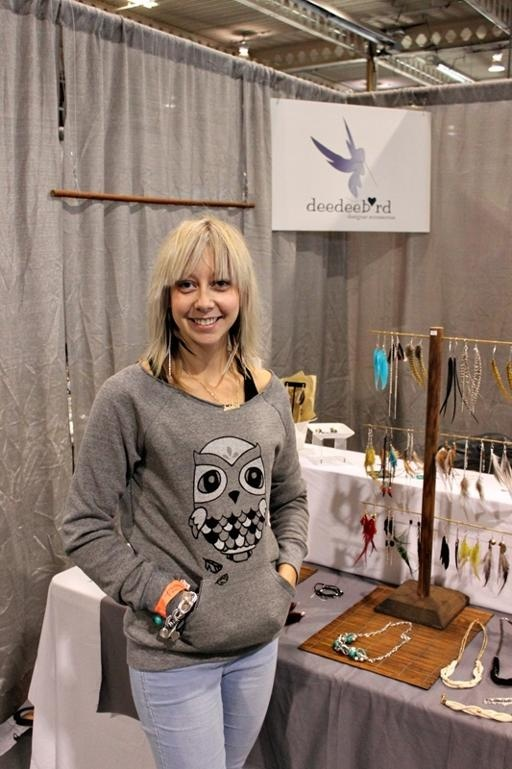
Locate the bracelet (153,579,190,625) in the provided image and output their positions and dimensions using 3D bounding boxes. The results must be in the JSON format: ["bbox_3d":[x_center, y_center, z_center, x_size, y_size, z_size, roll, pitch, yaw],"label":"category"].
[{"bbox_3d":[-0.135,0.330,0.909,0.023,0.046,0.062,29,59,18],"label":"bracelet"}]
